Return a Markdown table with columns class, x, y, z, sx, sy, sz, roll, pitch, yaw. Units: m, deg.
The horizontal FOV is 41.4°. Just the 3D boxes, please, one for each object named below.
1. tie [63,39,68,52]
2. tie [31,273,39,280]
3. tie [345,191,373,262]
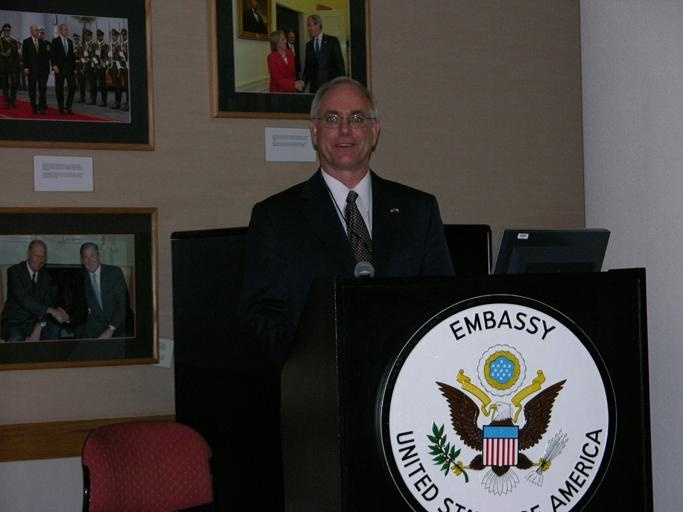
| class | x | y | z | sx | sy | sz | roll | pitch | yaw |
| --- | --- | --- | --- | --- | --- | --- | --- | --- | --- |
| tie | -1.439 | -1.098 | 4.708 | 0.031 | 0.061 | 0.011 | -13 | 7 | -22 |
| tie | -1.587 | 0.105 | 4.673 | 0.032 | 0.037 | 0.009 | -1 | -3 | -12 |
| tie | 0.065 | -0.117 | 3.595 | 0.092 | 0.283 | 0.209 | -10 | 7 | 2 |
